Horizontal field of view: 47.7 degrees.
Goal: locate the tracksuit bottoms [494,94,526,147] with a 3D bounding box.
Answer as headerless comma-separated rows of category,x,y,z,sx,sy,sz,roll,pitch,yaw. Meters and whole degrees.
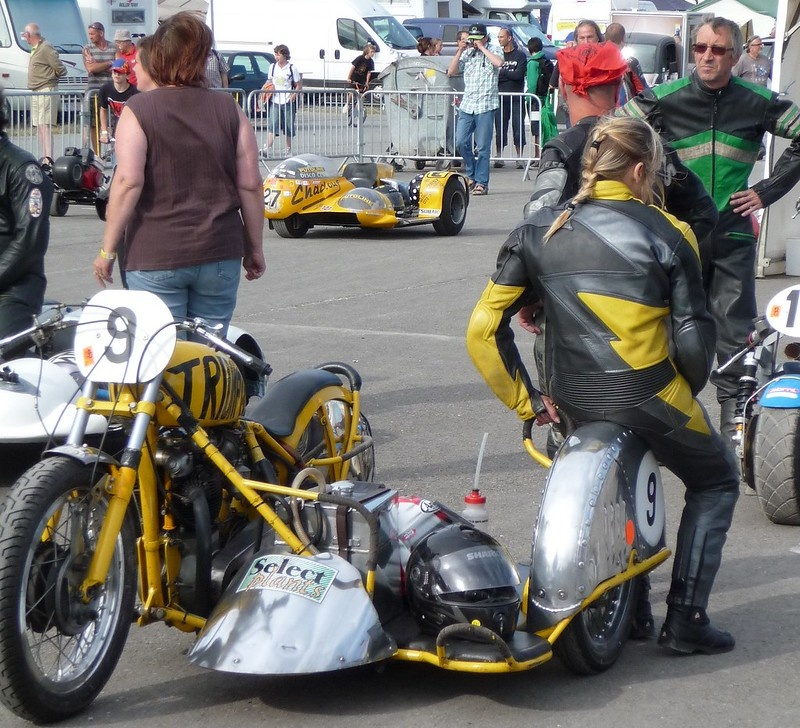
tracksuit bottoms,2.137,-4.689,17.513,0.533,1.198,0.183,-3,43,2

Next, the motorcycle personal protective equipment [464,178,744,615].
motorcycle personal protective equipment,0.711,0.042,3.028,0.771,1.632,0.556,2,17,16

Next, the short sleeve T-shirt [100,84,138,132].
short sleeve T-shirt,-4.739,-4.306,15.424,0.645,0.870,0.295,10,38,4

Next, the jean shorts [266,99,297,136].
jean shorts,-2.146,-4.518,16.546,0.487,0.700,0.247,4,23,3

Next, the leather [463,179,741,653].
leather,0.742,0.075,3.048,0.753,1.716,0.574,4,20,29

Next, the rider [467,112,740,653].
rider,0.709,0.090,3.068,0.792,1.747,0.618,-3,19,16

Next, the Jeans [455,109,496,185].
Jeans,1.239,-3.695,15.404,0.569,1.604,0.473,-1,-12,4

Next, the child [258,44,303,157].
child,-2.187,-4.866,16.758,0.719,1.969,0.589,0,12,-8

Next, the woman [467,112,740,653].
woman,0.728,0.090,3.061,0.775,1.728,0.600,2,19,27

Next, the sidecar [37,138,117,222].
sidecar,-4.457,-2.643,12.908,0.964,0.772,1.605,-16,10,1

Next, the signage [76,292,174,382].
signage,-0.768,-0.067,2.527,0.217,0.203,0.016,9,-17,13

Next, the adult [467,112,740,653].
adult,0.751,0.084,3.054,0.785,1.759,0.614,2,20,28

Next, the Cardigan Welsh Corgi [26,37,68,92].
Cardigan Welsh Corgi,-6.677,-5.577,16.904,0.960,0.979,0.566,16,16,32

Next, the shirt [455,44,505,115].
shirt,1.300,-4.709,15.241,0.763,1.479,0.438,-2,-20,17

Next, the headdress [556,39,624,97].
headdress,0.830,-1.282,3.920,0.297,0.234,0.295,4,11,12

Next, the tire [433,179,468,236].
tire,0.664,-2.102,12.139,0.182,0.636,0.554,10,31,28
